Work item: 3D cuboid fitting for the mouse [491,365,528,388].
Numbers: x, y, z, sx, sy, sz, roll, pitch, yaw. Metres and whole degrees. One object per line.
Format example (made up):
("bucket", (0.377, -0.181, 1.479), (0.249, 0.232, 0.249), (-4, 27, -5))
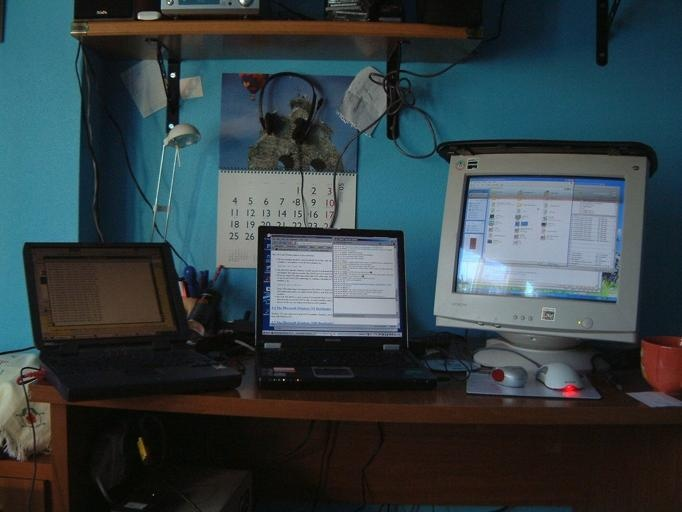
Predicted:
("mouse", (0.456, 0.307, 1.647), (0.085, 0.047, 0.117), (7, 10, 29))

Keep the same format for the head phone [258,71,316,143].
("head phone", (-0.162, -0.491, 2.077), (0.191, 0.231, 0.236), (1, 14, 5))

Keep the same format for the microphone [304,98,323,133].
("microphone", (-0.099, -0.462, 2.058), (0.033, 0.156, 0.023), (25, 48, -3))

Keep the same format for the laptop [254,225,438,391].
("laptop", (-0.027, 0.141, 1.800), (0.517, 0.397, 0.418), (0, -2, -4))

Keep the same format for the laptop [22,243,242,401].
("laptop", (-0.623, 0.153, 1.701), (0.439, 0.333, 0.482), (2, -3, -31))

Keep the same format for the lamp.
("lamp", (-0.535, -0.232, 2.025), (0.141, 0.384, 0.206), (-3, 10, -32))
